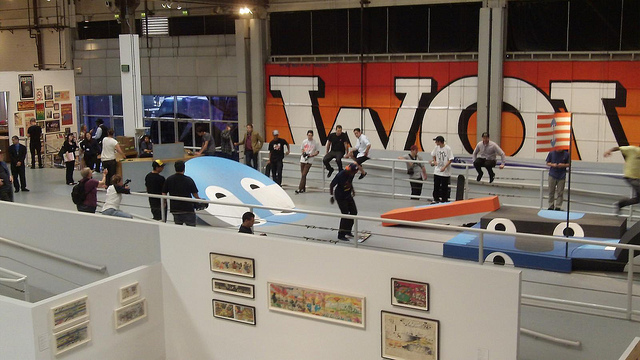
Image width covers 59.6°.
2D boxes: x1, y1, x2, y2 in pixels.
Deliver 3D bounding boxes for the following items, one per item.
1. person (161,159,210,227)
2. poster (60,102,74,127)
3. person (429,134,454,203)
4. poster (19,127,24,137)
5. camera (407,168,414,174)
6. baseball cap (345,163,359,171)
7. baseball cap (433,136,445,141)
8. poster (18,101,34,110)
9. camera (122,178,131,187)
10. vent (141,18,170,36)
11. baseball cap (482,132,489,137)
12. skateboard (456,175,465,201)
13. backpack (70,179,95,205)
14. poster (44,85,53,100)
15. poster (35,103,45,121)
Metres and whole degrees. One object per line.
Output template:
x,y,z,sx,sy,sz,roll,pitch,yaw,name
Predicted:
-3.582,0.734,14.635,0.969,2.448,0.728,-2,6,-3,person
-11.658,-3.018,25.589,0.171,1.084,0.591,6,11,37,poster
3.688,-0.297,16.851,0.621,2.046,1.018,2,9,15,person
-12.767,-2.043,23.827,0.111,0.407,0.188,8,12,44,poster
2.973,-0.282,18.166,0.181,0.207,0.275,0,9,2,camera
0.851,-0.337,14.634,0.253,0.261,0.195,-24,-4,23,baseball cap
3.607,-1.247,16.707,0.259,0.154,0.172,1,7,19,baseball cap
-12.598,-3.179,23.790,0.058,0.229,0.445,26,14,30,poster
-5.893,0.066,16.943,0.107,0.160,0.402,-4,-22,-25,camera
-7.806,-7.218,26.205,1.668,0.790,0.405,6,11,34,vent
5.075,-1.414,17.028,0.169,0.204,0.232,-1,-11,12,baseball cap
4.240,0.207,16.832,0.212,0.731,0.445,1,9,11,skateboard
-6.360,0.323,14.837,0.599,0.685,0.173,1,9,9,backpack
-12.123,-3.922,24.873,0.093,0.635,0.407,3,9,23,poster
-12.367,-3.015,24.541,0.143,0.734,0.494,2,9,13,poster
